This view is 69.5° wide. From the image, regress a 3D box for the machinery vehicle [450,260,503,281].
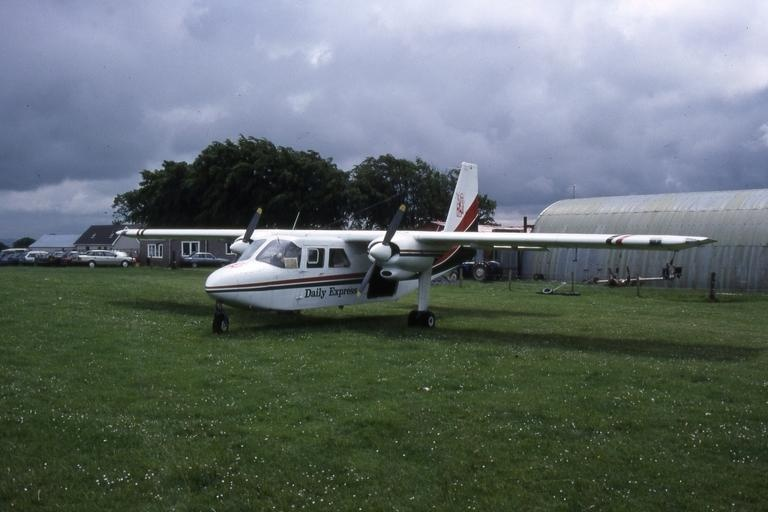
[{"bbox_3d":[7.540,1.109,42.439,3.959,1.315,2.360,2,2,30],"label":"machinery vehicle"}]
